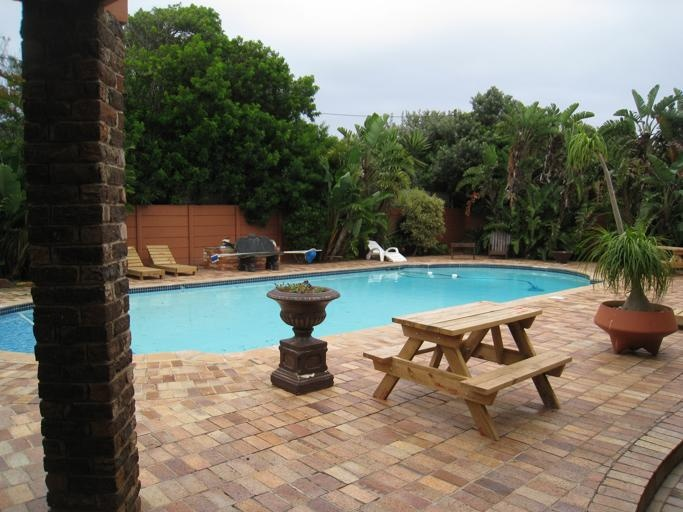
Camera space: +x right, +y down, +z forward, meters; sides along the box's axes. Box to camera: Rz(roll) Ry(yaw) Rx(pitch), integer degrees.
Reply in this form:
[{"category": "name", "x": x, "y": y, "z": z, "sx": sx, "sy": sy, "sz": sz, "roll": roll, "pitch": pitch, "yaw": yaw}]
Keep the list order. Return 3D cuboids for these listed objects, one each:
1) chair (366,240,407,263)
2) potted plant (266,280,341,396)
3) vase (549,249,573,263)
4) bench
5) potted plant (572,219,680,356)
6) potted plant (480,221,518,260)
[{"category": "chair", "x": 1.866, "y": -0.243, "z": 18.218, "sx": 1.042, "sy": 0.570, "sz": 1.439, "roll": -2, "pitch": 3, "yaw": -45}, {"category": "potted plant", "x": -0.398, "y": 0.906, "z": 4.611, "sx": 0.712, "sy": 1.082, "sz": 0.330, "roll": -1, "pitch": 7, "yaw": -9}, {"category": "vase", "x": 8.621, "y": -0.005, "z": 17.142, "sx": 0.710, "sy": 0.472, "sz": 0.604, "roll": 3, "pitch": 7, "yaw": 24}, {"category": "bench", "x": 1.044, "y": 1.121, "z": 4.095, "sx": 1.013, "sy": 0.318, "sz": 1.112, "roll": -4, "pitch": 5, "yaw": -39}, {"category": "potted plant", "x": 3.786, "y": 0.442, "z": 5.699, "sx": 1.021, "sy": 1.800, "sz": 0.893, "roll": 5, "pitch": 8, "yaw": 31}, {"category": "potted plant", "x": 7.099, "y": -0.789, "z": 19.544, "sx": 1.796, "sy": 2.244, "sz": 1.731, "roll": 0, "pitch": 1, "yaw": 24}]
